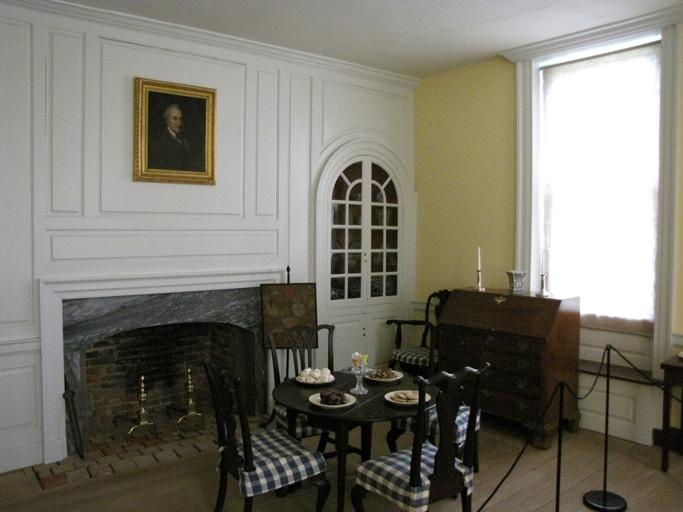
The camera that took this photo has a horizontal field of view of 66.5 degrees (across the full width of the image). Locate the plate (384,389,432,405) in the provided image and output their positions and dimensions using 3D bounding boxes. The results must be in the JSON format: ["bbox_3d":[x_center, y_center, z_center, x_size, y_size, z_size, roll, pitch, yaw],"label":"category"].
[{"bbox_3d":[0.464,1.101,4.052,0.213,0.033,0.227,0,6,3],"label":"plate"}]

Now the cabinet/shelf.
[{"bbox_3d":[1.769,1.135,5.715,1.323,1.419,0.800,3,2,44],"label":"cabinet/shelf"}]

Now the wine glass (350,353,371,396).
[{"bbox_3d":[0.141,0.965,4.302,0.174,0.312,0.160,0,1,-30],"label":"wine glass"}]

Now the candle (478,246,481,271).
[{"bbox_3d":[1.635,0.049,6.206,0.018,0.266,0.399,0,5,18],"label":"candle"}]
